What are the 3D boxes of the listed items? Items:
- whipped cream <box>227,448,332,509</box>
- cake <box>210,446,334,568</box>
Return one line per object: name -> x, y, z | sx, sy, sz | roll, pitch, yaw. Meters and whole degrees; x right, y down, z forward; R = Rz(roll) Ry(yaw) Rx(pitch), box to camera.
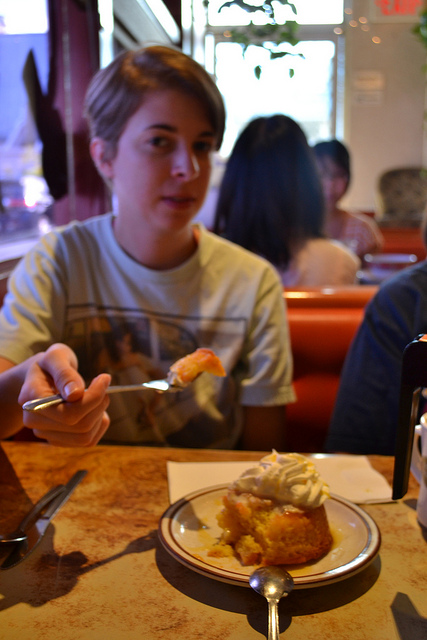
whipped cream -> 0.098, 0.212, 0.752 | 0.109, 0.055, 0.151 | 4, 4, -2
cake -> 0.076, 0.233, 0.689 | 0.118, 0.111, 0.124 | 6, 20, 0
